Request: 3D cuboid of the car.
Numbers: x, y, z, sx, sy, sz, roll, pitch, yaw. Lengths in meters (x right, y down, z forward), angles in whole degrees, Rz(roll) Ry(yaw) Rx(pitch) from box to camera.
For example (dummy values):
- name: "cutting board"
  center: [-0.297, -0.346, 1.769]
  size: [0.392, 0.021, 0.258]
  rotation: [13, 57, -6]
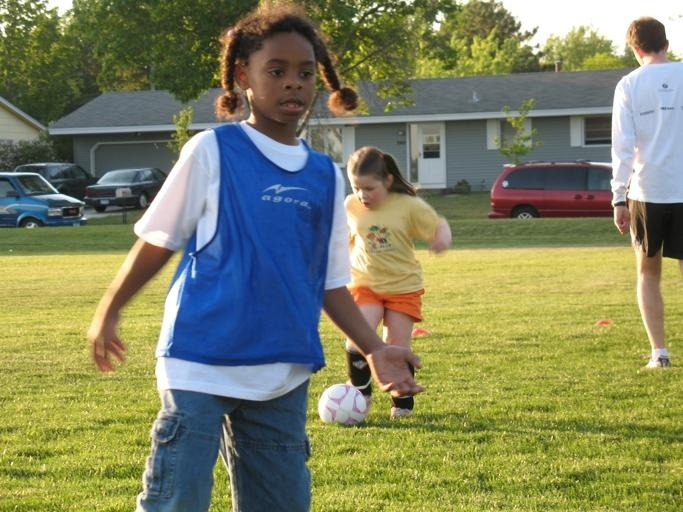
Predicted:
- name: "car"
  center: [-5.808, -1.854, 31.076]
  size: [1.528, 0.803, 3.198]
  rotation: [0, 8, 16]

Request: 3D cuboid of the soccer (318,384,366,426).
- name: "soccer"
  center: [0.116, 1.134, 8.965]
  size: [0.355, 0.338, 0.331]
  rotation: [-2, 20, 25]

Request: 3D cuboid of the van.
- name: "van"
  center: [4.414, -1.419, 23.690]
  size: [2.498, 0.802, 1.143]
  rotation: [-2, 6, 11]

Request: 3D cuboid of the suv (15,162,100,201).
- name: "suv"
  center: [-8.054, -2.267, 32.886]
  size: [1.098, 0.814, 2.182]
  rotation: [3, 8, 30]
